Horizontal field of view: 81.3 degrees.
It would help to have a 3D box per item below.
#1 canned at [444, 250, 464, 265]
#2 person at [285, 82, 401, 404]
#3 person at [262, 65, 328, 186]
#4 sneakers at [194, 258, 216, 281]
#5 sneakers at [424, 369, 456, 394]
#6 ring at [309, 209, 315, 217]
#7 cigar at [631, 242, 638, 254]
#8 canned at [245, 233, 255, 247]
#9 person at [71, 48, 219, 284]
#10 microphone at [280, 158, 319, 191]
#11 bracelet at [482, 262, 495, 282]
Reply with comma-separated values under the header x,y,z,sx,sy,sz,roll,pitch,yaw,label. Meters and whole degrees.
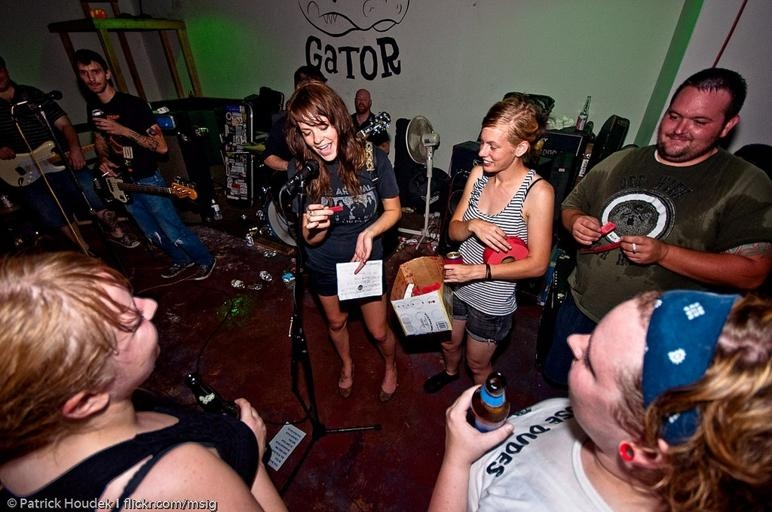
x,y,z,sx,sy,sz,roll,pitch,yaw,label
0.498,0.013,3.271,0.088,0.093,0.095,4,22,17,canned
-0.304,0.022,3.570,0.830,2.534,0.726,-2,33,0,person
-0.947,-1.196,4.898,0.385,1.577,1.159,6,26,8,person
-2.190,0.152,5.462,0.127,0.145,0.369,4,50,21,sneakers
0.467,1.143,4.107,0.363,0.136,0.139,-18,60,-12,sneakers
-0.504,-0.291,3.036,0.031,0.031,0.021,-6,33,-6,ring
1.633,-0.054,2.946,0.014,0.050,0.036,1,7,-15,cigar
-1.856,-0.205,6.087,0.119,0.042,0.183,-8,74,4,canned
-2.704,-0.927,4.962,1.158,2.489,0.539,15,36,25,person
-0.515,-0.536,2.995,0.115,0.120,0.408,-8,27,40,microphone
0.719,0.121,3.144,0.051,0.073,0.106,-3,53,4,bracelet
